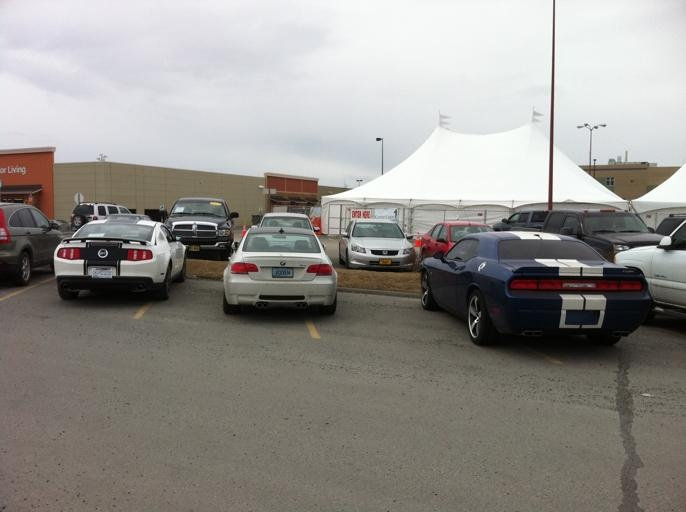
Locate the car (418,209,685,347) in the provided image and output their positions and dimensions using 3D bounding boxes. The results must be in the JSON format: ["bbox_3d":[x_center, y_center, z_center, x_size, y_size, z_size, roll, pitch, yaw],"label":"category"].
[{"bbox_3d":[2.714,0.129,8.290,1.661,1.118,3.305,0,7,-8],"label":"car"}]

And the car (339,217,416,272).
[{"bbox_3d":[1.131,-0.417,16.638,2.200,1.538,2.339,1,7,-5],"label":"car"}]
